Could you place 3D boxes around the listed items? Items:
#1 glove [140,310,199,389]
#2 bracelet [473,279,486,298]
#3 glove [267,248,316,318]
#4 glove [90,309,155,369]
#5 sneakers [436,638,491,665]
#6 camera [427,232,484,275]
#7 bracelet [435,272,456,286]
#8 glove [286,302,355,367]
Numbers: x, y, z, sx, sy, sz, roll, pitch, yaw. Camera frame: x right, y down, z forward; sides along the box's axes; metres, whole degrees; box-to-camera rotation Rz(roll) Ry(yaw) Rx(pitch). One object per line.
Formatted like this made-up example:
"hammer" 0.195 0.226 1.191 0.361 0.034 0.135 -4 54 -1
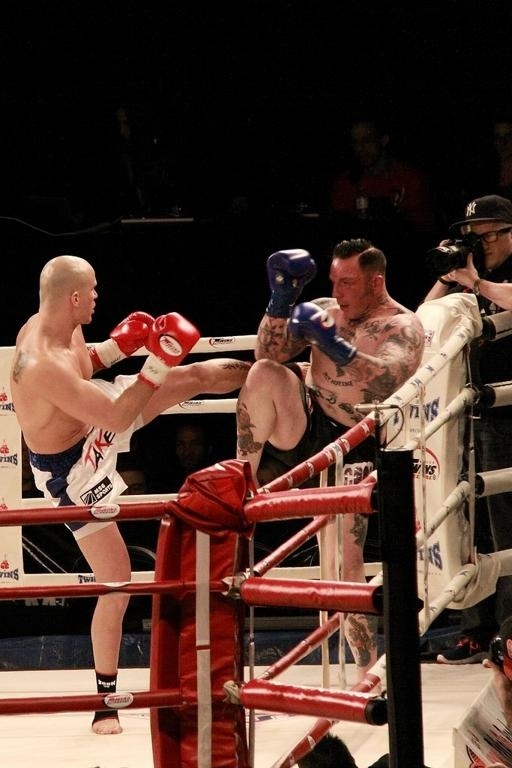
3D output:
"glove" -0.308 -0.085 3.302 0.176 0.081 0.262 5 -23 -15
"bracelet" 0.853 -0.378 3.712 0.043 0.059 0.066 0 -6 35
"glove" 0.119 -0.333 3.371 0.185 0.243 0.136 -2 -21 -6
"glove" -0.583 -0.193 4.072 0.164 0.139 0.433 10 -29 -43
"sneakers" 0.811 1.068 3.790 0.253 0.086 0.076 -2 -5 -2
"camera" 0.759 -0.490 3.703 0.196 0.114 0.214 -2 12 45
"bracelet" 0.782 -0.421 3.942 0.075 0.018 0.080 17 -1 39
"glove" 0.207 -0.191 3.253 0.174 0.085 0.262 4 -8 -13
